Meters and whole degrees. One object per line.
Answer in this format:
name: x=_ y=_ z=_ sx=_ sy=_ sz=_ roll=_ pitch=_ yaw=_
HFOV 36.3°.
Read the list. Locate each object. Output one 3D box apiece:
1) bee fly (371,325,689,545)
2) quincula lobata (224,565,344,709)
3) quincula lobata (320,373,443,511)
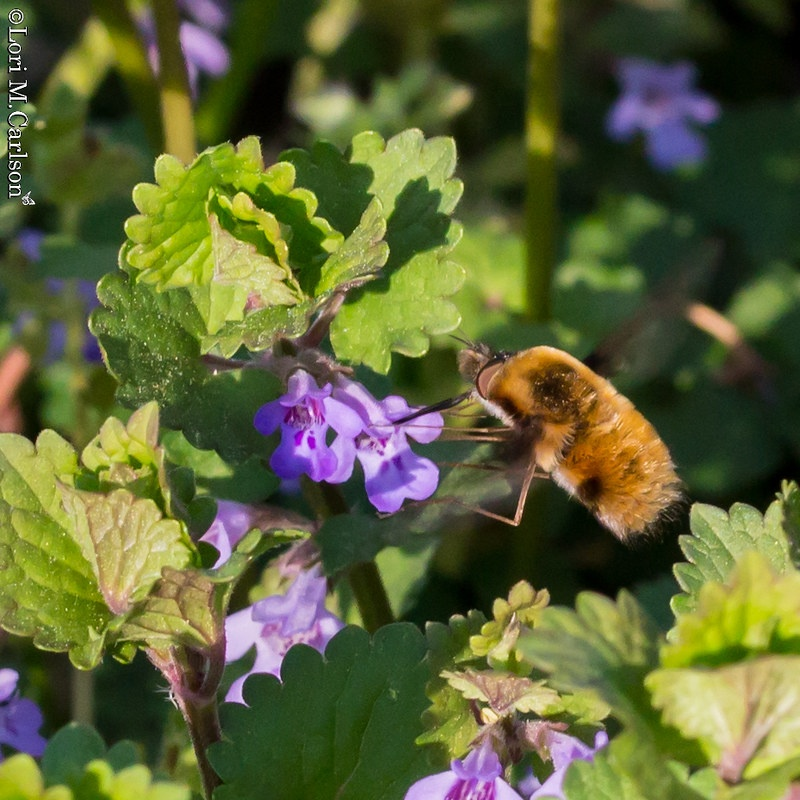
bee fly: x=0.240 y=-0.013 z=2.017 sx=0.377 sy=0.324 sz=0.475 roll=7 pitch=19 yaw=44
quincula lobata: x=-0.132 y=0.298 z=1.559 sx=0.158 sy=0.176 sz=0.067 roll=-28 pitch=60 yaw=20
quincula lobata: x=-0.026 y=0.060 z=1.568 sx=0.153 sy=0.162 sz=0.061 roll=-12 pitch=2 yaw=-38
